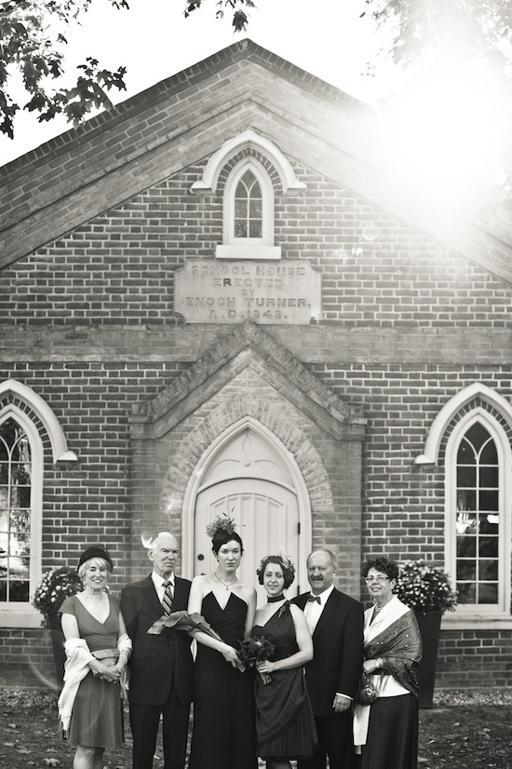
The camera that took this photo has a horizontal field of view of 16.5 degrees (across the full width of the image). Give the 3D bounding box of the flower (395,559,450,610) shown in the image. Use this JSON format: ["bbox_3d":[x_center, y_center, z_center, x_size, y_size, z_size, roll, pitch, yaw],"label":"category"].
[{"bbox_3d":[1.672,2.013,18.138,0.529,0.410,0.515,6,11,18],"label":"flower"}]

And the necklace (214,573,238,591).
[{"bbox_3d":[-0.254,1.598,14.257,0.113,0.121,0.054,9,-49,-8],"label":"necklace"}]

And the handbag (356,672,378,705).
[{"bbox_3d":[0.864,2.402,13.910,0.145,0.233,0.080,3,-7,-7],"label":"handbag"}]

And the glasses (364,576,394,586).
[{"bbox_3d":[0.992,1.572,14.081,0.118,0.045,0.131,1,-20,24],"label":"glasses"}]

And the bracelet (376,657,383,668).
[{"bbox_3d":[0.964,2.187,13.884,0.044,0.067,0.019,-4,-8,25],"label":"bracelet"}]

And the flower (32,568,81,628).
[{"bbox_3d":[-2.009,2.190,18.054,0.553,0.670,0.586,-2,-4,39],"label":"flower"}]
